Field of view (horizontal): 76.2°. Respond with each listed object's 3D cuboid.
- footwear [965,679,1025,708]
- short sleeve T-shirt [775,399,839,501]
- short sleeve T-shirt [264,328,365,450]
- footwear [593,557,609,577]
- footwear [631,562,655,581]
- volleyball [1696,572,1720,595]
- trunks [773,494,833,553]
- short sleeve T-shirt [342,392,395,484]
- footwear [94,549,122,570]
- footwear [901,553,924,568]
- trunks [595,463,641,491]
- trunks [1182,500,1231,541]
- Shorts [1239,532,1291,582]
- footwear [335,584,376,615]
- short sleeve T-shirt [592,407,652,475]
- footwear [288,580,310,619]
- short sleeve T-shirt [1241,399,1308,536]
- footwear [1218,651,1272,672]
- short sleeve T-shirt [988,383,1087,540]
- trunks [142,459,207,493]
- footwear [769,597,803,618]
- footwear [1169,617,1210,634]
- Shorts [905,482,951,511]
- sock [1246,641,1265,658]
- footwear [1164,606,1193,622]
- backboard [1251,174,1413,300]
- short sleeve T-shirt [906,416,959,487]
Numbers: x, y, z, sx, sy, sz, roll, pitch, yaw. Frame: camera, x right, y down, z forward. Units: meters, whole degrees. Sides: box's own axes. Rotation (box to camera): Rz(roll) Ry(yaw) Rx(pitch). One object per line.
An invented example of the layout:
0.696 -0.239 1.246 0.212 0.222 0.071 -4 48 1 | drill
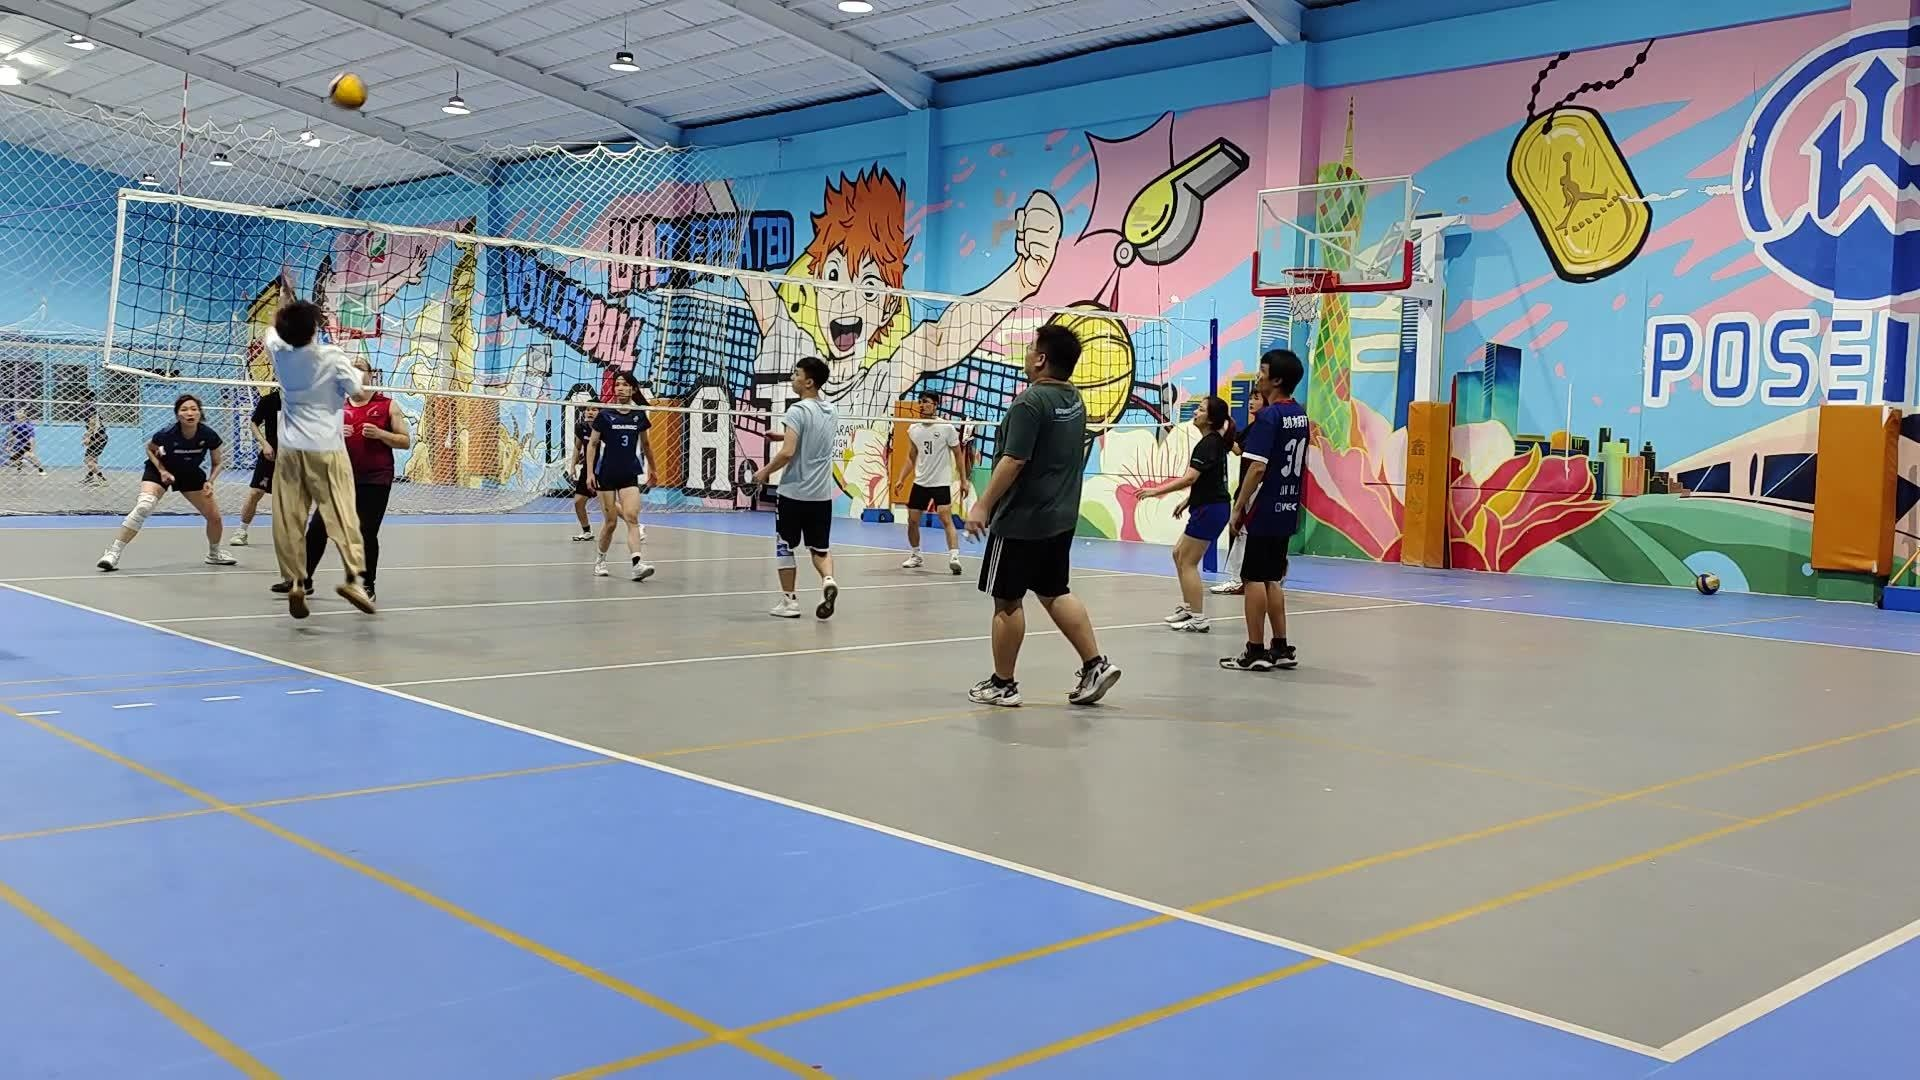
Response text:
0.240 1.042 8.456 0.370 0.154 0.165 4 3 19 | footwear
-1.371 -0.844 11.102 0.463 0.932 0.330 2 3 -13 | short sleeve T-shirt
-5.172 -1.206 9.808 0.667 0.957 0.401 2 4 -23 | short sleeve T-shirt
-3.937 0.279 13.529 0.140 0.159 0.383 1 -2 -28 | footwear
-3.427 0.322 13.146 0.121 0.150 0.326 4 -16 -44 | footwear
9.145 0.507 14.979 0.315 0.282 0.295 -3 2 -7 | volleyball
-1.450 -0.187 11.322 0.725 0.657 0.384 1 7 -13 | trunks
-5.258 -0.935 10.882 0.548 0.770 0.475 5 13 -10 | short sleeve T-shirt
-8.805 0.185 12.681 0.123 0.156 0.357 34 -23 -23 | footwear
-0.578 0.239 15.157 0.126 0.146 0.339 -1 -4 20 | footwear
-3.827 -0.703 13.634 0.494 0.312 0.275 -2 -2 5 | trunks
2.285 -0.207 11.339 0.389 0.382 0.277 16 -12 1 | trunks
2.352 0.108 9.506 0.424 0.379 0.232 -2 9 -38 | Shorts
-4.924 0.463 10.047 0.264 0.194 0.558 -5 -2 2 | footwear
-3.892 -1.156 13.944 0.693 0.783 0.466 -1 11 -33 | short sleeve T-shirt
-5.366 0.463 9.947 0.154 0.323 0.152 -2 19 -17 | footwear
2.476 -0.589 9.564 0.576 1.057 0.350 1 4 -32 | short sleeve T-shirt
2.240 0.918 9.584 0.432 0.166 0.152 3 1 18 | footwear
0.543 -0.560 8.514 0.651 1.041 0.991 6 5 26 | short sleeve T-shirt
-8.417 -0.703 13.168 0.551 0.285 0.492 1 4 -30 | trunks
-1.604 0.594 11.288 0.147 0.149 0.351 -1 2 -31 | footwear
2.096 0.759 11.159 0.376 0.151 0.139 3 -1 1 | footwear
-0.344 -0.556 15.358 0.465 0.308 0.598 3 3 9 | Shorts
2.315 0.838 9.548 0.161 0.100 0.091 2 3 -7 | sock
1.956 0.676 11.217 0.101 0.118 0.286 3 -3 -41 | footwear
5.113 -4.247 17.030 2.451 1.516 1.501 8 14 40 | backboard
-0.342 -1.111 15.260 0.507 0.844 0.279 3 3 -8 | short sleeve T-shirt
